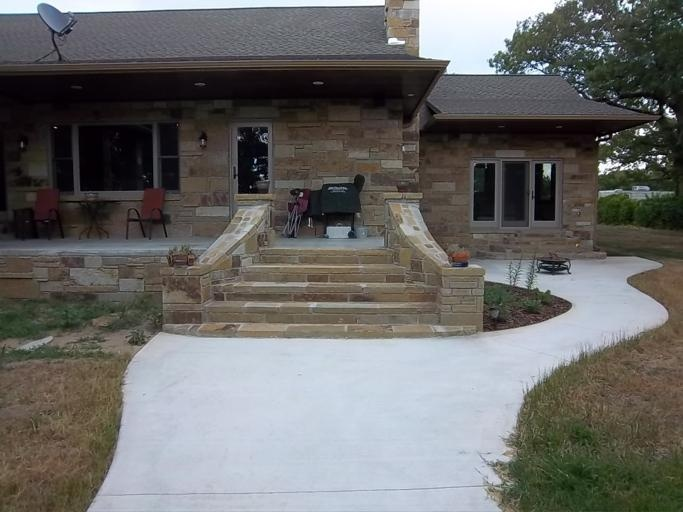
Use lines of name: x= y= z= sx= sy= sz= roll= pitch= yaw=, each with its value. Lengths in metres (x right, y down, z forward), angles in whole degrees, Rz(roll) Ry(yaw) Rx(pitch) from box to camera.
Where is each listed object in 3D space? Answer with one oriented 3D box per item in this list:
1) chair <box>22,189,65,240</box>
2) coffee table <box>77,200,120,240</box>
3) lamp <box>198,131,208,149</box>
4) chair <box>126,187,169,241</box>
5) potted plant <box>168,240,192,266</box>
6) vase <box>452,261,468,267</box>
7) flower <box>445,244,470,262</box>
chair: x=-5.824 y=-0.826 z=11.082 sx=0.580 sy=0.976 sz=0.770 roll=-6 pitch=12 yaw=-25
coffee table: x=-4.946 y=-0.737 z=11.337 sx=0.968 sy=0.654 sz=0.823 roll=-1 pitch=2 yaw=-8
lamp: x=-2.717 y=-2.257 z=11.021 sx=0.145 sy=0.336 sz=0.145 roll=4 pitch=13 yaw=23
chair: x=-3.784 y=-0.808 z=10.898 sx=0.749 sy=0.849 sz=0.763 roll=9 pitch=16 yaw=38
potted plant: x=-2.124 y=-0.005 z=7.209 sx=0.356 sy=0.347 sz=0.428 roll=-2 pitch=-7 yaw=2
vase: x=1.432 y=0.096 z=6.859 sx=0.185 sy=0.050 sz=0.105 roll=1 pitch=10 yaw=8
flower: x=2.013 y=-0.068 z=9.948 sx=0.578 sy=0.221 sz=0.618 roll=1 pitch=0 yaw=0
